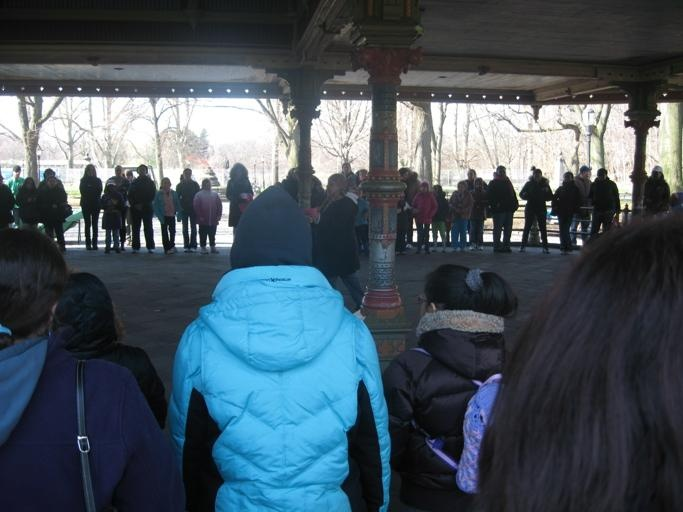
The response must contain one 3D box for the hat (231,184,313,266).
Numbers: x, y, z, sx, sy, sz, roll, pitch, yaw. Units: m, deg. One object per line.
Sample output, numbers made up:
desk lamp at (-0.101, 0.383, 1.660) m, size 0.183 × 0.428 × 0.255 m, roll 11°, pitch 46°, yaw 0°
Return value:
hat at (-0.248, -0.104, 2.297) m, size 0.281 × 0.292 × 0.154 m, roll -1°, pitch 4°, yaw -12°
